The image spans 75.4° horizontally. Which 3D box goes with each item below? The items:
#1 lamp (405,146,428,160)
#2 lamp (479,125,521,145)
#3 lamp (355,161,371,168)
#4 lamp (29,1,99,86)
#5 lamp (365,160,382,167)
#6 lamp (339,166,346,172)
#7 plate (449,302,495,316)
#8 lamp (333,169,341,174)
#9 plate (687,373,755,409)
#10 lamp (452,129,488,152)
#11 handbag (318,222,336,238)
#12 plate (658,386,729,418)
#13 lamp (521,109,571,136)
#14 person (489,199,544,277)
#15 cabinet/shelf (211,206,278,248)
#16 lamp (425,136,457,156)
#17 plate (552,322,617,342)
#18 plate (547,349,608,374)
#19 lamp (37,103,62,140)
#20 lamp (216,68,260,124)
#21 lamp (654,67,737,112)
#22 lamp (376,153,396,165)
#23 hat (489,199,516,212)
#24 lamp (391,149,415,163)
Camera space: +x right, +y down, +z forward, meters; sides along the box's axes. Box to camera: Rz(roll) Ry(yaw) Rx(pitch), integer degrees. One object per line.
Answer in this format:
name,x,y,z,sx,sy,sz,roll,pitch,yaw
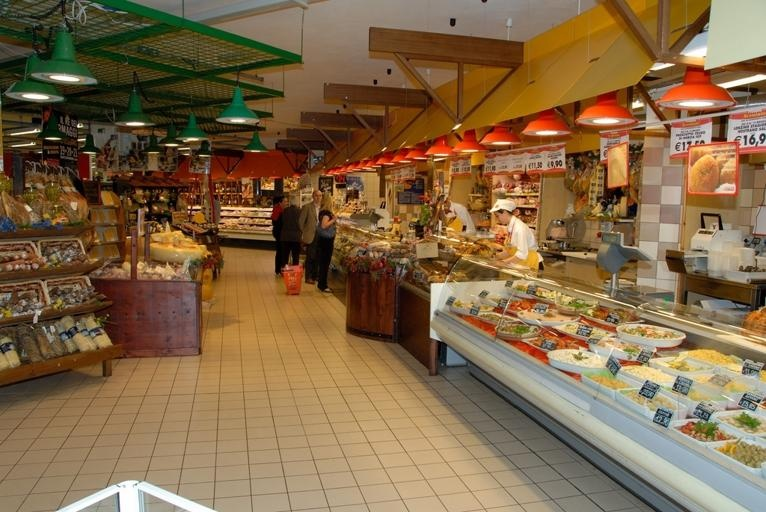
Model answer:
lamp,0.611,-1.927,9.316,0.418,0.160,0.356,0,1,5
lamp,1.625,-1.671,6.799,0.466,0.248,0.503,5,11,19
lamp,-0.603,-2.441,13.221,0.398,0.104,0.382,2,3,37
lamp,-3.599,-2.386,5.427,0.547,1.026,1.482,-6,13,-32
lamp,-0.273,-2.241,12.055,0.374,0.093,0.349,1,4,32
lamp,-1.343,-2.797,15.921,0.225,0.119,0.191,1,1,-1
plate,1.009,0.585,5.526,0.249,0.045,0.314,-3,7,-26
lamp,-1.584,-2.820,16.572,0.161,0.108,0.138,1,0,9
plate,2.221,0.878,3.244,0.268,0.053,0.228,-1,11,2
lamp,1.312,-1.757,7.550,0.467,0.358,0.423,0,-4,6
handbag,-1.284,-0.558,10.900,0.383,0.266,0.329,1,2,-15
plate,2.059,0.934,3.260,0.207,0.064,0.229,-3,10,-20
lamp,1.904,-1.572,5.747,0.410,0.282,0.442,9,13,37
person,1.880,-0.319,7.000,0.705,0.913,1.113,5,11,17
cabinet/shelf,-6.091,-1.292,21.623,1.767,1.671,3.792,-4,11,-27
lamp,0.945,-1.827,8.273,0.452,0.350,0.412,0,-2,0
plate,1.751,0.649,4.259,0.220,0.037,0.309,-7,10,-22
plate,1.581,0.847,3.983,0.328,0.057,0.328,-1,3,-16
lamp,-7.035,-2.799,10.381,0.358,0.693,1.310,-6,12,-32
lamp,-2.082,-2.140,6.901,0.491,0.526,0.866,-2,11,-18
lamp,2.574,-1.329,4.173,0.578,0.287,0.560,-2,2,-40
lamp,0.073,-2.230,11.403,0.535,0.200,0.518,6,9,38
hat,1.735,-0.727,7.132,0.420,0.129,0.297,-2,7,1
lamp,0.362,-2.038,10.140,0.445,0.175,0.379,0,-2,3
